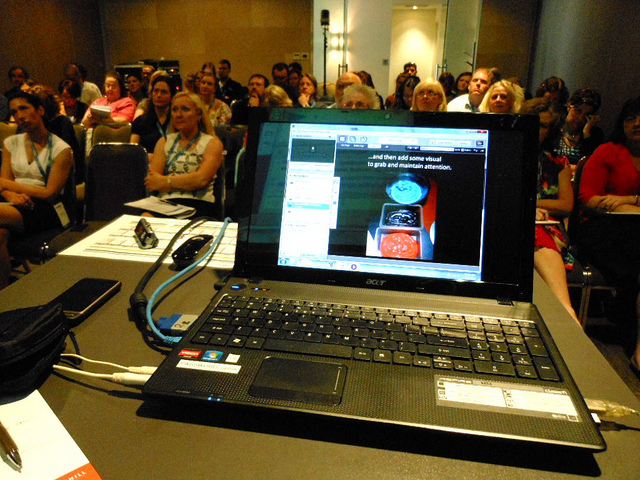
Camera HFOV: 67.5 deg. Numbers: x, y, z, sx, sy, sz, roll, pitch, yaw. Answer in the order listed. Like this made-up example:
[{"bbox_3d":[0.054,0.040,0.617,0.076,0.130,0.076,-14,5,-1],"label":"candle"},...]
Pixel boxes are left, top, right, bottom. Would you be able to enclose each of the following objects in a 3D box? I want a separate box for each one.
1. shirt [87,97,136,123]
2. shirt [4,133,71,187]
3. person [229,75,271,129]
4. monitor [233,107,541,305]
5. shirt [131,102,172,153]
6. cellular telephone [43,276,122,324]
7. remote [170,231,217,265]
[{"bbox_3d":[-2.266,-1.438,5.299,0.429,0.230,0.526,-6,21,-21],"label":"shirt"},{"bbox_3d":[-1.723,-0.465,2.948,0.372,0.315,0.254,-2,24,-11],"label":"shirt"},{"bbox_3d":[-0.703,-1.348,5.145,0.328,0.814,0.275,10,8,12],"label":"person"},{"bbox_3d":[0.131,-0.088,1.041,0.634,0.399,0.045,4,-2,9],"label":"monitor"},{"bbox_3d":[-1.378,-0.864,4.054,0.402,0.456,0.262,-4,14,-29],"label":"shirt"},{"bbox_3d":[-0.538,0.135,1.077,0.113,0.022,0.178,3,22,4],"label":"cellular telephone"},{"bbox_3d":[-0.342,0.026,1.288,0.068,0.036,0.148,5,20,4],"label":"remote"}]
